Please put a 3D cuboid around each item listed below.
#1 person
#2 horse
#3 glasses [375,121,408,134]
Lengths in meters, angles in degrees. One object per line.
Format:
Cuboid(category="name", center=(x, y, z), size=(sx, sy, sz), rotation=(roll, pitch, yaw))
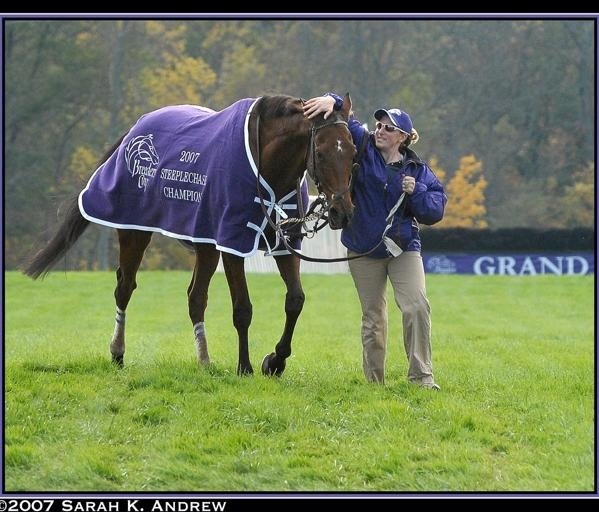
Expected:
Cuboid(category="person", center=(1.053, -0.089, 12.432), size=(1.121, 3.196, 0.474), rotation=(2, -1, 3))
Cuboid(category="horse", center=(-1.259, -0.226, 13.536), size=(4.694, 3.357, 1.410), rotation=(3, 2, 36))
Cuboid(category="glasses", center=(1.072, -1.464, 12.377), size=(0.239, 0.074, 0.185), rotation=(18, 4, -25))
